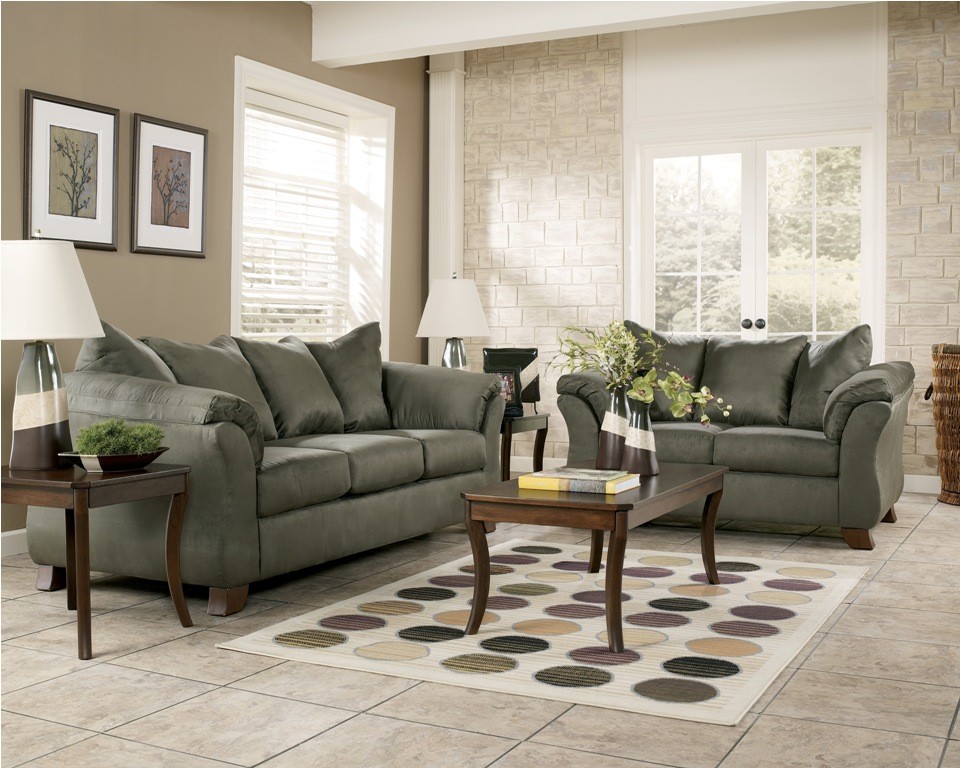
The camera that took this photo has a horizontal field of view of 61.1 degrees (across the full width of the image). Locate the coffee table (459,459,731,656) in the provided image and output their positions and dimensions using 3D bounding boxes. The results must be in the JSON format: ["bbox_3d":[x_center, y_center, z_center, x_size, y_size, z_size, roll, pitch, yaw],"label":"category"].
[{"bbox_3d":[0.344,0.440,2.884,0.631,0.413,1.073,0,2,30],"label":"coffee table"}]

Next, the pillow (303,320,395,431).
[{"bbox_3d":[-0.646,-0.027,4.427,0.177,0.487,0.605,-28,-11,40],"label":"pillow"}]

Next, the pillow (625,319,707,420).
[{"bbox_3d":[1.195,-0.040,4.989,0.692,0.556,0.192,8,-10,18],"label":"pillow"}]

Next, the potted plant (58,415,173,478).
[{"bbox_3d":[-1.215,0.206,2.746,0.246,0.118,0.246,0,1,-37],"label":"potted plant"}]

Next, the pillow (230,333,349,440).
[{"bbox_3d":[-0.942,0.015,4.113,0.165,0.499,0.566,-33,-11,21],"label":"pillow"}]
